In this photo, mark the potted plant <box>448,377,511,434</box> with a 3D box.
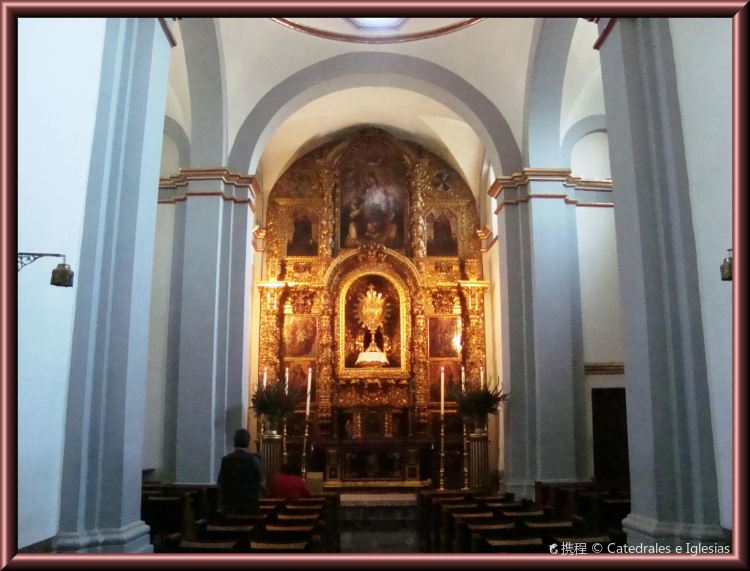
[{"bbox_3d":[1.601,1.837,10.247,0.610,0.719,1.406,-1,-10,1],"label":"potted plant"}]

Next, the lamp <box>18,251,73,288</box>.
[{"bbox_3d":[-2.233,-0.118,4.652,0.275,0.246,0.458,-1,-10,5],"label":"lamp"}]
